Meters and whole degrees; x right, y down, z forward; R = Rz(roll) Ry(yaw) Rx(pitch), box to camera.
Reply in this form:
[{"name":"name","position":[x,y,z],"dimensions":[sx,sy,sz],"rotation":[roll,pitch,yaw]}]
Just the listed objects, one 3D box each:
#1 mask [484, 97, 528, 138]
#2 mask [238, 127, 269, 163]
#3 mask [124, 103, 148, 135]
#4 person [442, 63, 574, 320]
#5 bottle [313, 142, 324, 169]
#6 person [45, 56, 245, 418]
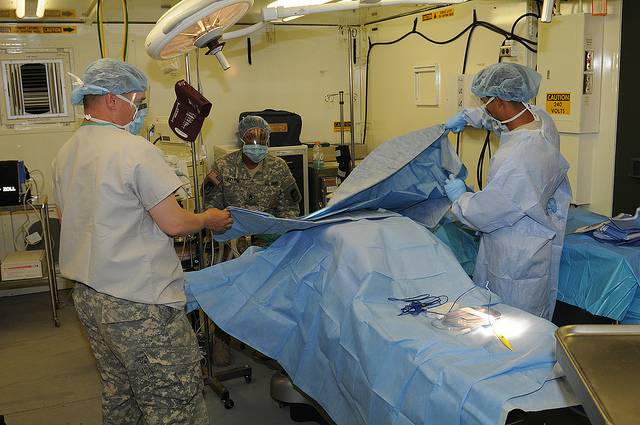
[{"name":"mask","position":[1.143,-0.640,3.282],"dimensions":[0.208,0.237,0.303],"rotation":[-2,9,-13]},{"name":"mask","position":[-0.468,-0.540,3.929],"dimensions":[0.212,0.246,0.255],"rotation":[-2,15,-10]},{"name":"mask","position":[-0.893,-0.499,2.681],"dimensions":[0.118,0.163,0.091],"rotation":[2,-1,44]},{"name":"person","position":[1.165,-0.100,3.224],"dimensions":[0.729,1.721,0.584],"rotation":[4,10,27]},{"name":"bottle","position":[0.038,-0.661,5.705],"dimensions":[0.118,0.290,0.330],"rotation":[0,8,0]},{"name":"person","position":[-0.897,0.185,2.585],"dimensions":[0.745,1.942,0.411],"rotation":[-2,9,-11]}]
